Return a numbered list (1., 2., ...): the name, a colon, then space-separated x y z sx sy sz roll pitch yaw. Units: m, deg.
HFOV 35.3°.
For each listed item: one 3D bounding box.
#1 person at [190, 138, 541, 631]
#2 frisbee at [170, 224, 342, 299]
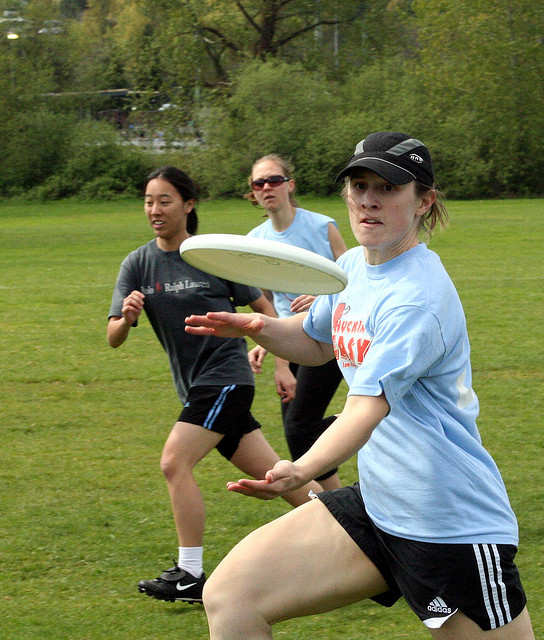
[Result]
1. person: 0.249 0.181 2.492 0.877 1.420 0.813 -2 10 -5
2. frisbee: -0.058 -0.184 2.792 0.510 0.068 0.392 9 -17 11
